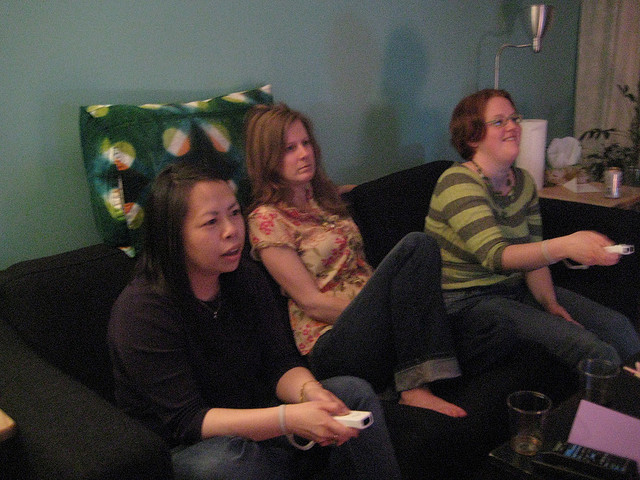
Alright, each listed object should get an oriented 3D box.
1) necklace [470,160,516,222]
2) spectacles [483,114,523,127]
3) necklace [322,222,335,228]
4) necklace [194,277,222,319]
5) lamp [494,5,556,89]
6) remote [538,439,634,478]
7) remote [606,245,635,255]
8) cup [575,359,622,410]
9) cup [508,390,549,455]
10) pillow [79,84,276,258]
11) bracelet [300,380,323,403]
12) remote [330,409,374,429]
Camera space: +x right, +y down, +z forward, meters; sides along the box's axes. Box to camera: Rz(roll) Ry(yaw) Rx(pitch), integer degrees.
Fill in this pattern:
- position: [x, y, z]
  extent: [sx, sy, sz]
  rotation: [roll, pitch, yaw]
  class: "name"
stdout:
- position: [0.647, -0.178, 2.104]
  extent: [0.155, 0.240, 0.060]
  rotation: [-10, -4, -30]
  class: "necklace"
- position: [0.694, -0.450, 2.076]
  extent: [0.175, 0.037, 0.059]
  rotation: [-16, 18, -27]
  class: "spectacles"
- position: [0.028, -0.055, 1.971]
  extent: [0.020, 0.008, 0.028]
  rotation: [-28, 38, -12]
  class: "necklace"
- position: [-0.297, 0.152, 1.504]
  extent: [0.102, 0.091, 0.025]
  rotation: [-32, -22, 14]
  class: "necklace"
- position: [0.972, -0.939, 2.696]
  extent: [0.247, 0.349, 0.252]
  rotation: [-8, 17, 1]
  class: "lamp"
- position: [0.635, 0.499, 1.305]
  extent: [0.155, 0.026, 0.068]
  rotation: [8, 14, 32]
  class: "remote"
- position: [0.859, 0.023, 1.588]
  extent: [0.035, 0.018, 0.055]
  rotation: [1, 3, -23]
  class: "remote"
- position: [0.746, 0.391, 1.556]
  extent: [0.128, 0.127, 0.129]
  rotation: [-2, 5, 0]
  class: "cup"
- position: [0.524, 0.460, 1.401]
  extent: [0.097, 0.126, 0.100]
  rotation: [-7, 17, 2]
  class: "cup"
- position: [-0.467, -0.280, 1.847]
  extent: [0.559, 0.521, 0.211]
  rotation: [-15, -5, -22]
  class: "pillow"
- position: [-0.037, 0.431, 1.557]
  extent: [0.055, 0.052, 0.014]
  rotation: [-27, -14, -6]
  class: "bracelet"
- position: [0.088, 0.428, 1.365]
  extent: [0.087, 0.019, 0.048]
  rotation: [3, 7, 38]
  class: "remote"
